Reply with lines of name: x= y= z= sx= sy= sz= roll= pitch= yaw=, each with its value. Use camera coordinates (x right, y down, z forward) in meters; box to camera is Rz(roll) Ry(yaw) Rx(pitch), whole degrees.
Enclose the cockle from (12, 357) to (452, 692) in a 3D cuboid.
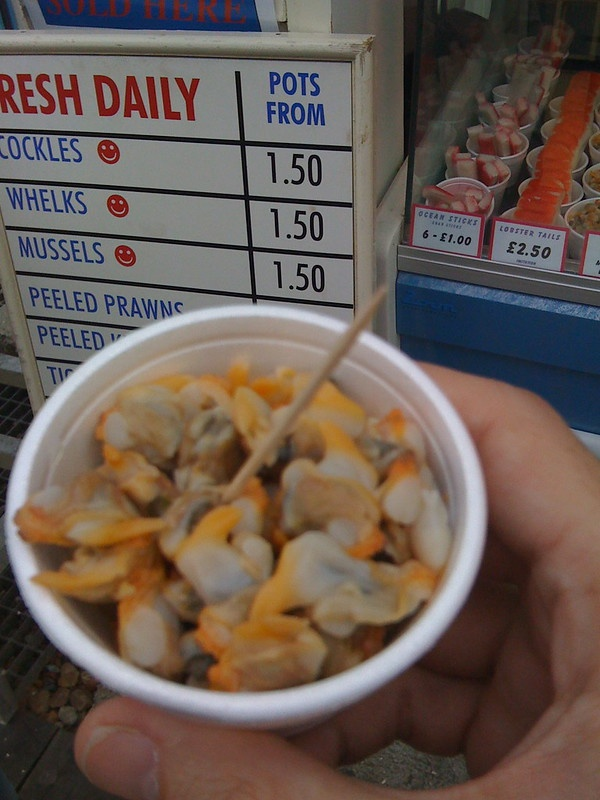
cockle: x=-0.053 y=0.064 z=0.620 sx=0.364 sy=0.185 sz=0.368 roll=-1 pitch=42 yaw=6
